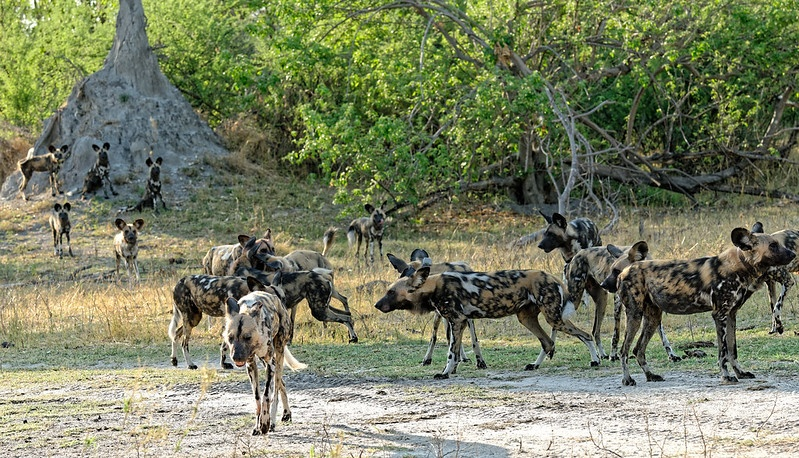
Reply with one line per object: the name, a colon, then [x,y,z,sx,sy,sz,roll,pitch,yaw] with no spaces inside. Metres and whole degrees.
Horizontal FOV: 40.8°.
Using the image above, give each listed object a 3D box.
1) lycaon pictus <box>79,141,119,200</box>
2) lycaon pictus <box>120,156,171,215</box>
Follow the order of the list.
lycaon pictus: [-11.440,-2.244,41.003,1.195,2.072,0.834,-3,0,15]
lycaon pictus: [-9.351,-1.640,40.144,1.353,1.980,1.147,-3,0,-30]
